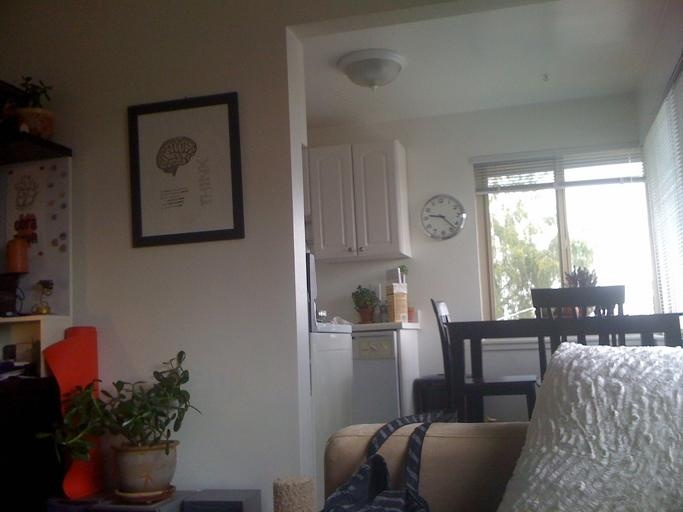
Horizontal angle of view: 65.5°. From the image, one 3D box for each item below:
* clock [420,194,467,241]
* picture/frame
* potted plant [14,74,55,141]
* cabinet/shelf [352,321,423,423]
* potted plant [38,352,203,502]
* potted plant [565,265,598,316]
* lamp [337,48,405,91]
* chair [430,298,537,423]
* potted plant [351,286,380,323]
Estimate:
[{"bbox_3d":[0.936,-0.362,4.975,0.404,0.492,0.076,-2,33,9],"label":"clock"},{"bbox_3d":[-0.830,-0.447,2.917,0.699,0.936,0.035,-4,-7,8],"label":"picture/frame"},{"bbox_3d":[-1.716,-0.831,2.980,0.148,0.302,0.154,5,4,7],"label":"potted plant"},{"bbox_3d":[0.328,0.986,4.529,0.562,0.944,0.576,4,15,38],"label":"cabinet/shelf"},{"bbox_3d":[-1.055,0.850,2.623,0.637,0.698,0.566,-3,-5,-2],"label":"potted plant"},{"bbox_3d":[1.614,0.247,3.583,0.266,0.396,0.291,-4,-11,24],"label":"potted plant"},{"bbox_3d":[0.225,-1.456,4.155,0.531,0.174,0.355,-4,-5,2],"label":"lamp"},{"bbox_3d":[0.952,0.718,3.438,0.597,0.968,0.528,-11,-7,10],"label":"chair"},{"bbox_3d":[0.213,0.477,4.975,0.279,0.392,0.280,-1,-14,0],"label":"potted plant"}]
